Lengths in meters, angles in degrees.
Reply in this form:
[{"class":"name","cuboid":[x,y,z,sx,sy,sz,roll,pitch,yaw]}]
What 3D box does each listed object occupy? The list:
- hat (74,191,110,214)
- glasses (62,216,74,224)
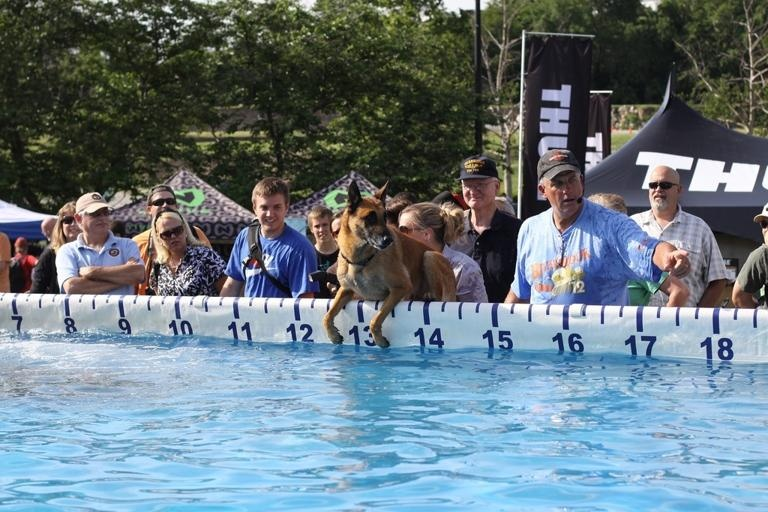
[{"class":"hat","cuboid":[-4.845,-0.863,21.601,0.619,0.322,0.463,-2,1,3]},{"class":"glasses","cuboid":[-5.430,-0.623,22.475,0.135,0.065,0.172,2,-13,-7]}]
